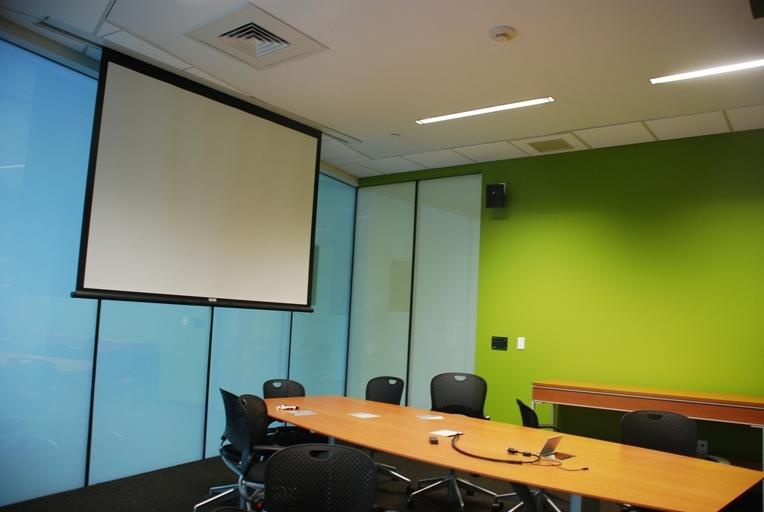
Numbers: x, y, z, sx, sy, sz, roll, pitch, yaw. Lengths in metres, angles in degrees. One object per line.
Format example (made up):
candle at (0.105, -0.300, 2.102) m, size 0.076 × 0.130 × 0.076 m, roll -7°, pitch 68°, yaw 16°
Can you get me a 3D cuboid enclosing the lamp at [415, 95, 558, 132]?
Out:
lamp at (1.211, -1.752, 6.272) m, size 1.654 × 0.191 × 0.218 m, roll 3°, pitch 4°, yaw 29°
